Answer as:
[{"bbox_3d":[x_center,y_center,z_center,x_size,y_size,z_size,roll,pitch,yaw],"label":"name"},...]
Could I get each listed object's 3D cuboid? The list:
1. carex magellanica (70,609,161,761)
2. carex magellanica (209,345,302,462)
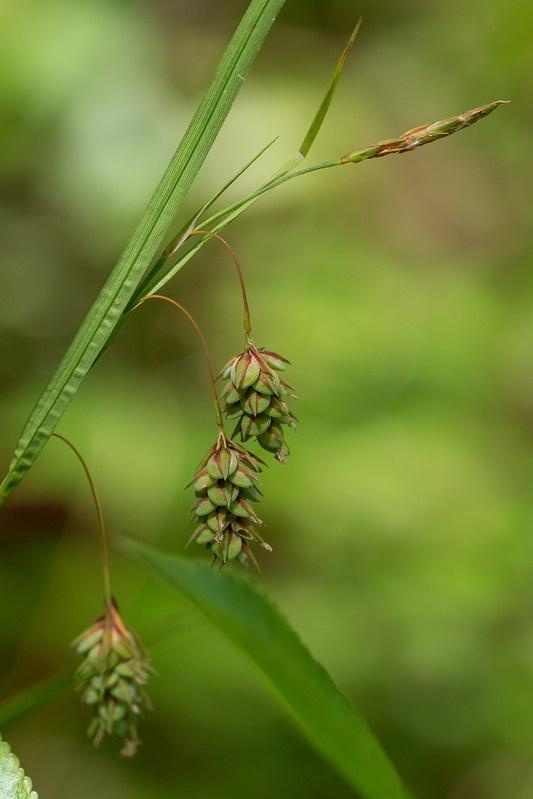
[{"bbox_3d":[-0.117,0.211,0.613,0.066,0.054,0.121,2,-80,10],"label":"carex magellanica"},{"bbox_3d":[0.007,-0.002,0.596,0.046,0.047,0.074,3,-48,39],"label":"carex magellanica"}]
